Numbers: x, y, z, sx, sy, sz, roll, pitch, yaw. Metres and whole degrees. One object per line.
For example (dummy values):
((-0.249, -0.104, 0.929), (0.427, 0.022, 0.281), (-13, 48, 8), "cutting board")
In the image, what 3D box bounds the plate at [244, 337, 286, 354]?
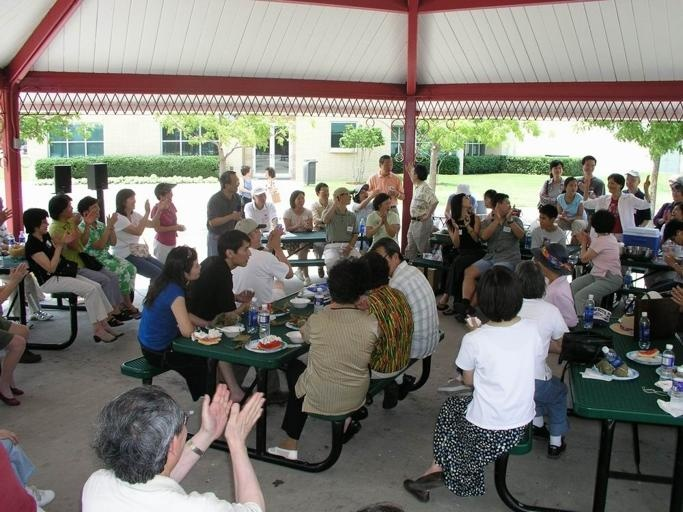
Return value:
((-0.570, 0.659, 3.800), (0.296, 0.083, 0.206), (3, 10, 18), "plate")

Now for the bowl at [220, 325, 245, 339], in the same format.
((-0.870, 0.600, 4.001), (0.112, 0.047, 0.100), (3, 10, 29), "bowl")

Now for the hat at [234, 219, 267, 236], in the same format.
((-0.934, -0.303, 5.205), (0.278, 0.148, 0.179), (-20, 17, -18), "hat")

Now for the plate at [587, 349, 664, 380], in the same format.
((1.948, 0.768, 3.492), (0.309, 0.136, 0.339), (-5, 2, 13), "plate")

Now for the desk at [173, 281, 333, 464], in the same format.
((-0.457, 0.925, 3.905), (0.914, 0.637, 1.301), (6, 12, 22), "desk")

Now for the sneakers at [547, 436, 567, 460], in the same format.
((1.739, 1.528, 4.103), (0.099, 0.111, 0.254), (2, 15, 32), "sneakers")

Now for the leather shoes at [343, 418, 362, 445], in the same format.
((0.078, 1.451, 4.232), (0.143, 0.195, 0.068), (15, -26, 45), "leather shoes")

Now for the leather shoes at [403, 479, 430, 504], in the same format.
((0.529, 1.658, 3.577), (0.093, 0.085, 0.239), (-13, 36, -21), "leather shoes")

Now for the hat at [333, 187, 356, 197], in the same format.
((0.019, -1.001, 7.887), (0.239, 0.089, 0.156), (-14, 16, -28), "hat")

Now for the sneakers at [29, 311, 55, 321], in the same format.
((-4.045, 0.805, 6.864), (0.227, 0.102, 0.130), (1, 1, 3), "sneakers")

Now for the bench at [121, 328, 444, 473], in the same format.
((-0.716, 0.938, 3.990), (1.636, 0.545, 1.394), (10, 10, 25), "bench")

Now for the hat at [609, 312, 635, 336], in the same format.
((2.348, 0.575, 4.244), (0.164, 0.053, 0.167), (-7, 20, 8), "hat")

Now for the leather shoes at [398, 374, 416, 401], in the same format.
((0.640, 1.271, 4.887), (0.081, 0.226, 0.220), (13, 3, -8), "leather shoes")

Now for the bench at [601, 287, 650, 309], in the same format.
((3.441, 0.512, 6.198), (0.303, 0.114, 0.465), (6, 18, 37), "bench")

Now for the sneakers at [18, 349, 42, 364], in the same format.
((-3.442, 1.111, 5.626), (0.222, 0.226, 0.106), (0, 2, -7), "sneakers")

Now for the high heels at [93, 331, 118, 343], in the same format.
((-2.883, 0.999, 6.160), (0.225, 0.095, 0.125), (-4, 3, 6), "high heels")

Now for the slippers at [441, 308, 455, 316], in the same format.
((1.554, 0.827, 7.445), (0.192, 0.073, 0.072), (0, 3, -17), "slippers")

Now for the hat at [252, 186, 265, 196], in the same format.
((-1.406, -1.092, 8.594), (0.224, 0.118, 0.351), (-10, 9, -17), "hat")

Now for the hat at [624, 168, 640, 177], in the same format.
((5.076, -1.421, 8.833), (0.258, 0.150, 0.407), (2, 1, 40), "hat")

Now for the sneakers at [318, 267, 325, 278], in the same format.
((-0.357, 0.277, 8.749), (0.070, 0.203, 0.077), (-5, -1, 2), "sneakers")

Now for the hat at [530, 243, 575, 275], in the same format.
((1.881, 0.068, 4.537), (0.283, 0.120, 0.292), (32, 35, -3), "hat")
